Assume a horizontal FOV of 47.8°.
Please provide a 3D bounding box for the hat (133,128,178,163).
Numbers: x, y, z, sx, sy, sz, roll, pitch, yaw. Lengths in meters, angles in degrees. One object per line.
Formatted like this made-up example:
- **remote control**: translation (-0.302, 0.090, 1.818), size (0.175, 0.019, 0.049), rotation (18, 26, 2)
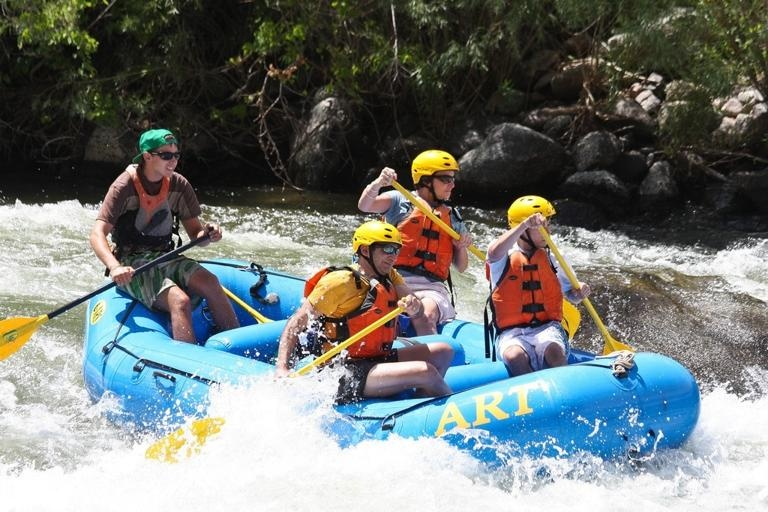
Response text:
- **hat**: translation (-2.300, -1.148, 8.888), size (0.356, 0.299, 0.560), rotation (-10, -5, -43)

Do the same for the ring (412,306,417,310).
- **ring**: translation (0.272, 0.474, 7.929), size (0.030, 0.041, 0.012), rotation (7, 24, -35)

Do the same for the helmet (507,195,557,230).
- **helmet**: translation (1.453, -0.458, 8.599), size (0.370, 0.319, 0.326), rotation (14, 7, 26)

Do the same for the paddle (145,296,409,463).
- **paddle**: translation (-0.968, 1.198, 8.010), size (2.395, 0.134, 0.268), rotation (-32, 41, -8)

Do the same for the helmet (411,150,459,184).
- **helmet**: translation (0.444, -0.897, 9.248), size (0.459, 0.325, 0.361), rotation (-1, -15, 1)

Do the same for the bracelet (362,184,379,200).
- **bracelet**: translation (-0.128, -0.707, 9.136), size (0.122, 0.169, 0.059), rotation (20, 51, 6)
